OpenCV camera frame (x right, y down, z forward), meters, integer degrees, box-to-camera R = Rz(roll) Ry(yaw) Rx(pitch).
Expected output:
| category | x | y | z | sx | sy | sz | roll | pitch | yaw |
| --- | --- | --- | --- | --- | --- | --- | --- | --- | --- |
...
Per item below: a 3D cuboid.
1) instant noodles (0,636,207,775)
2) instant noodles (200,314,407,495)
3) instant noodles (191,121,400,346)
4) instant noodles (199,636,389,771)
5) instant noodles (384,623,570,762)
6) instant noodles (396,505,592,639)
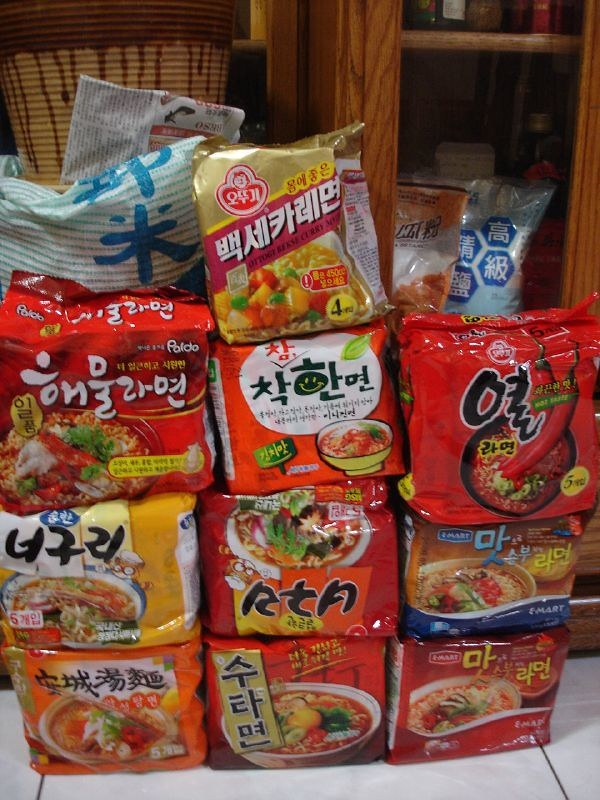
| category | x | y | z | sx | sy | sz | roll | pitch | yaw |
| --- | --- | --- | --- | --- | --- | --- | --- | --- | --- |
| instant noodles | -0.284 | 0.468 | 1.117 | 0.266 | 0.236 | 0.075 | -2 | 20 | 0 |
| instant noodles | -0.002 | 0.004 | 1.016 | 0.262 | 0.229 | 0.086 | -8 | 13 | -5 |
| instant noodles | -0.010 | -0.233 | 1.002 | 0.263 | 0.268 | 0.156 | -6 | 32 | -6 |
| instant noodles | -0.009 | 0.483 | 1.180 | 0.261 | 0.224 | 0.242 | -4 | 9 | -4 |
| instant noodles | 0.272 | 0.467 | 1.139 | 0.265 | 0.209 | 0.083 | -3 | 28 | -4 |
| instant noodles | 0.287 | 0.263 | 1.088 | 0.243 | 0.193 | 0.076 | -2 | 24 | -4 |
